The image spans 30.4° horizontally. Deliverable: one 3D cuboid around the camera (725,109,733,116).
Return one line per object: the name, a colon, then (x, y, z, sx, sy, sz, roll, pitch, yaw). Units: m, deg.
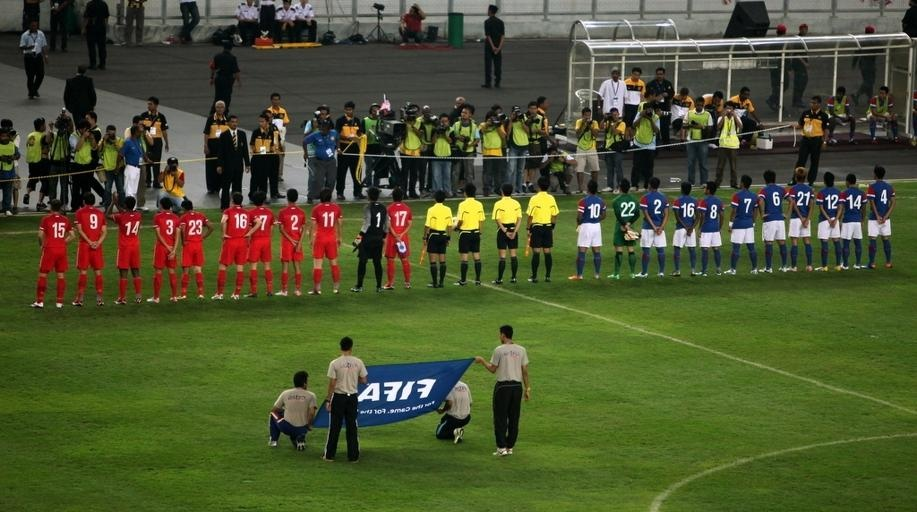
camera: (9.796, -5.096, 61.373, 0.258, 0.110, 0.332, -1, 7, 4)

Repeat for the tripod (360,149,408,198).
tripod: (-2.691, -2.892, 60.734, 1.134, 1.821, 1.374, 1, 0, 5)

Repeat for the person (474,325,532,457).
person: (1.307, 3.699, 46.989, 1.188, 3.565, 1.270, 0, 5, 4)

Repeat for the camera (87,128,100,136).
camera: (-12.460, -4.119, 57.654, 0.249, 0.208, 0.135, 26, -2, -4)

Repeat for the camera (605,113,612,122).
camera: (5.385, -4.874, 61.182, 0.079, 0.256, 0.414, -2, 4, -18)

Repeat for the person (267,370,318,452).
person: (-4.596, 4.245, 46.857, 1.292, 2.193, 0.661, 0, 5, 10)

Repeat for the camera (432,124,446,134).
camera: (-0.696, -4.379, 59.888, 0.550, 0.282, 0.184, 0, 4, 4)

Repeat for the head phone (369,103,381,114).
head phone: (-2.987, -5.099, 60.263, 0.491, 0.455, 0.191, 2, 11, -5)

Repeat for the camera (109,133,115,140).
camera: (-11.823, -3.988, 57.635, 0.268, 0.181, 0.241, -1, 4, -11)

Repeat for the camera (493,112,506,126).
camera: (1.523, -4.786, 60.642, 0.533, 0.426, 0.307, -6, 14, -31)

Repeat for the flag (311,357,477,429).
flag: (-1.437, 3.741, 47.006, 4.873, 1.802, 0.778, 0, -3, -16)

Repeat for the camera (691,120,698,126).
camera: (8.626, -4.771, 61.925, 0.258, 0.195, 0.203, 0, 4, 0)

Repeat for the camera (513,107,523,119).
camera: (2.072, -5.034, 60.765, 0.393, 0.473, 0.496, 4, 5, 4)

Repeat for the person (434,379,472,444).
person: (-0.033, 4.297, 47.453, 0.994, 1.628, 0.835, 3, -1, -40)

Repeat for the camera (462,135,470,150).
camera: (0.270, -3.943, 60.062, 0.211, 0.428, 0.208, 1, 13, 1)
